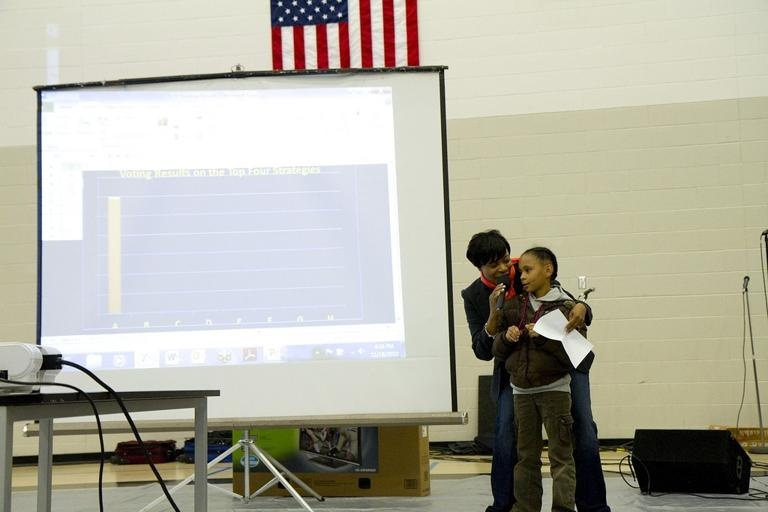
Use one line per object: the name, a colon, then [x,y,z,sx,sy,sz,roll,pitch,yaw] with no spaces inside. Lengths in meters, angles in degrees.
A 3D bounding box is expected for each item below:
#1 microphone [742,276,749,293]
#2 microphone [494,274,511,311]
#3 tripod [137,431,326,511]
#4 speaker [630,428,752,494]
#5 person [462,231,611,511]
microphone: [3.820,0.289,13.520,0.078,0.181,0.012,-3,-3,3]
microphone: [1.014,0.292,10.899,0.095,0.303,0.157,-4,-3,28]
tripod: [-1.261,1.961,11.639,1.274,0.460,0.841,1,-5,-4]
speaker: [2.775,1.838,11.573,1.019,0.586,0.248,-3,-3,15]
person: [1.254,0.960,10.914,1.108,2.392,0.500,-3,-3,4]
